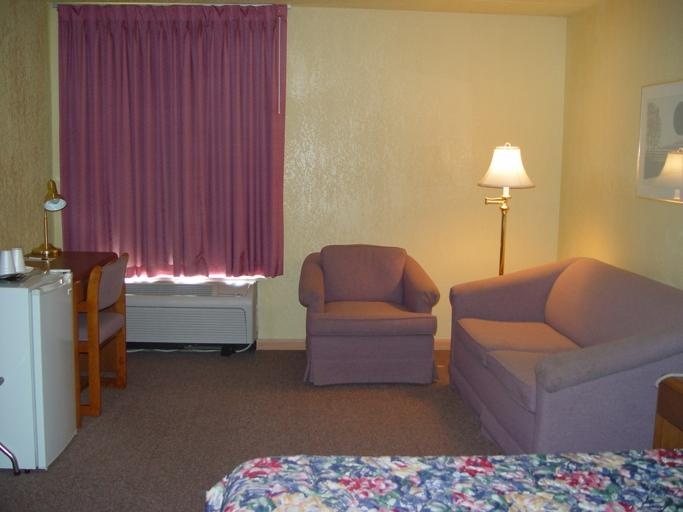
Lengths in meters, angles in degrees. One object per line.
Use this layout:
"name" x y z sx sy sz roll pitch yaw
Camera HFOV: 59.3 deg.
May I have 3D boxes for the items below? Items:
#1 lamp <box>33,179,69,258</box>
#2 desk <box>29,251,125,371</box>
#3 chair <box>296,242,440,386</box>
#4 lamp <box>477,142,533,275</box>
"lamp" -2.229 -0.290 4.533 0.249 0.630 1.005 -6 16 -27
"desk" -1.901 0.370 4.286 0.329 0.442 0.655 1 8 -7
"chair" 0.166 0.441 4.978 0.933 0.953 1.001 1 2 -3
"lamp" 1.349 -0.349 5.019 0.404 1.189 0.811 4 14 13
